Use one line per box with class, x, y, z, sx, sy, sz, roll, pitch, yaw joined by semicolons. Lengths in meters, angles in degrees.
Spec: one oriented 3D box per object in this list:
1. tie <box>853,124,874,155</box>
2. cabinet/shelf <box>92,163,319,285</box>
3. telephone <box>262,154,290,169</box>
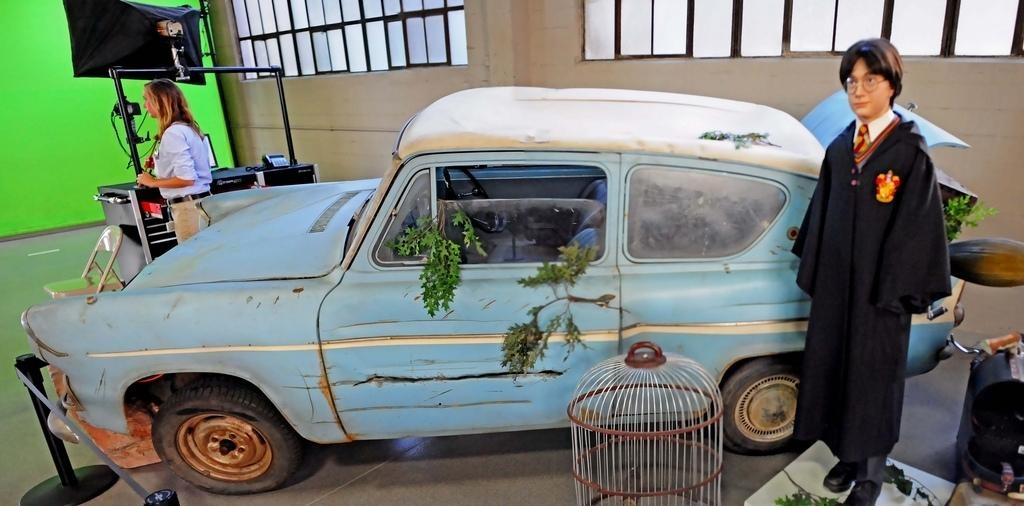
tie;3.357;-1.097;6.874;0.139;0.264;0.107;2;22;16
cabinet/shelf;-3.622;-0.324;8.493;1.708;1.303;0.559;-11;13;-35
telephone;-3.639;-1.390;10.955;0.552;0.231;0.419;4;7;39
